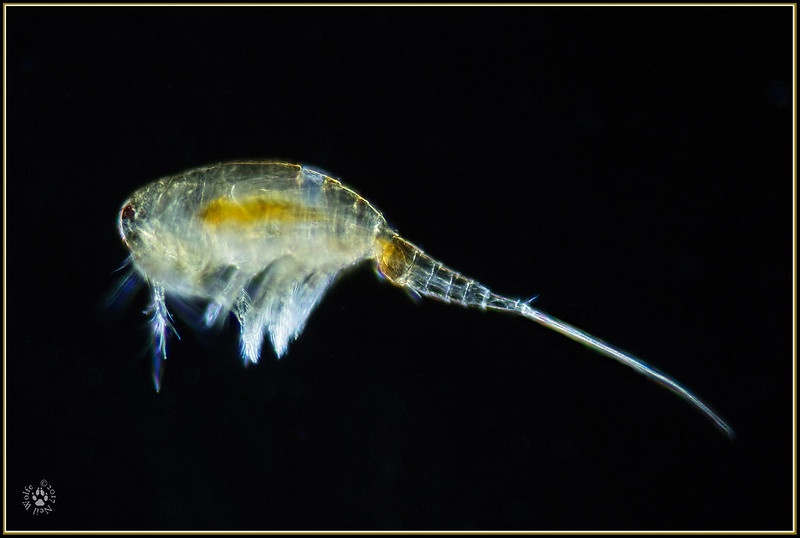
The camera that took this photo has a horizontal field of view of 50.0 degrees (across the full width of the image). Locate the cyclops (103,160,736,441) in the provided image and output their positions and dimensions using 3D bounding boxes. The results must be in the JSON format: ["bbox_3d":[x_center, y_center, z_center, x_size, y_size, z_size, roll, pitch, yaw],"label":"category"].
[{"bbox_3d":[-0.797,-0.019,7.229,5.646,2.248,1.231,8,-10,0],"label":"cyclops"}]
